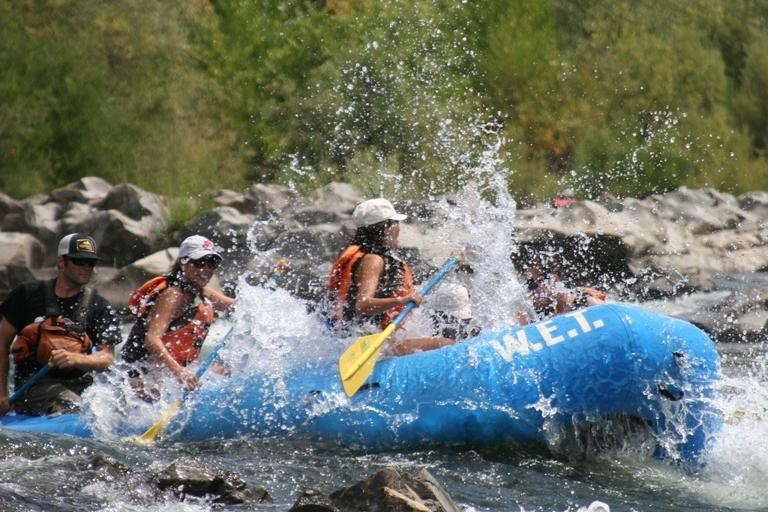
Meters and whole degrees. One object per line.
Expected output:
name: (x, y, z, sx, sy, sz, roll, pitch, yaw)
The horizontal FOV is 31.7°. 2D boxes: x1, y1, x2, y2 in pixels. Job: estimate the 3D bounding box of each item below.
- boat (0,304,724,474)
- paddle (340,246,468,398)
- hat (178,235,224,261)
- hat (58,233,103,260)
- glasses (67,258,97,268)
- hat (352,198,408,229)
boat: (0.929, 2.076, 19.104, 7.593, 3.782, 1.349, -12, 74, 3)
paddle: (0.237, 1.007, 19.036, 0.559, 0.133, 2.605, 42, 69, 11)
hat: (-2.676, -0.122, 19.093, 0.511, 0.384, 0.272, -4, 85, 31)
hat: (-4.302, -0.135, 18.984, 0.470, 0.338, 0.264, 1, 89, 32)
glasses: (-4.232, 0.082, 18.963, 0.256, 0.164, 0.077, -2, 81, 28)
hat: (-0.107, -0.614, 19.222, 0.589, 0.418, 0.306, -14, 95, 4)
